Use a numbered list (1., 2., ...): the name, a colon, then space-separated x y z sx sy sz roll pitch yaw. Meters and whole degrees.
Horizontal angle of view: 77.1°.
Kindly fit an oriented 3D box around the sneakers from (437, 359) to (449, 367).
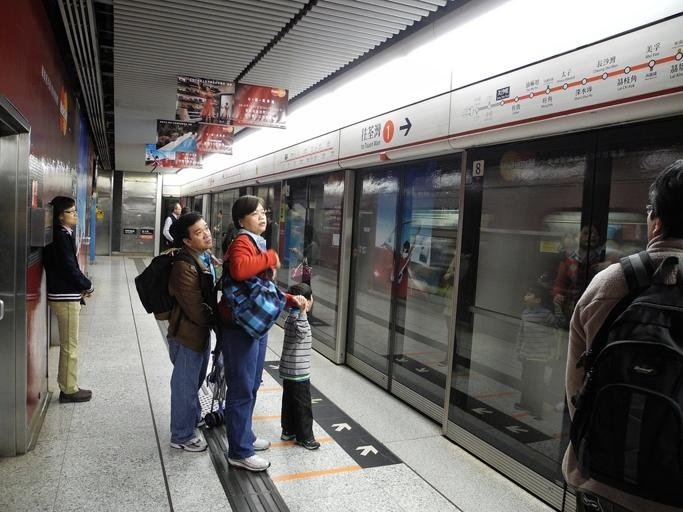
1. sneakers: 1.037 1.079 4.344 0.045 0.058 0.145 2 -13 -5

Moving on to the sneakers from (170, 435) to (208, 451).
1. sneakers: -1.230 1.509 3.478 0.307 0.139 0.112 1 1 -8

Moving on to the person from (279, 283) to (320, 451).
1. person: -0.332 1.029 3.624 0.379 1.174 0.223 4 3 9

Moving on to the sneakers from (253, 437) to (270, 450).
1. sneakers: -0.651 1.552 3.554 0.183 0.078 0.079 -2 -2 14

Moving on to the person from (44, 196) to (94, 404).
1. person: -2.610 0.435 4.119 0.438 1.994 0.455 2 3 -33

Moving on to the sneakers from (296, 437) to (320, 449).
1. sneakers: -0.279 1.570 3.626 0.192 0.088 0.072 -1 -3 19

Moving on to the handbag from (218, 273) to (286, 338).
1. handbag: -0.642 0.355 3.159 0.475 0.369 0.201 40 -11 -8

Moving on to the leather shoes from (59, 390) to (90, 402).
1. leather shoes: -2.614 1.388 4.208 0.239 0.107 0.131 0 2 -21

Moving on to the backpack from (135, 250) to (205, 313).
1. backpack: -1.320 0.178 3.497 0.546 0.548 0.371 0 9 -9

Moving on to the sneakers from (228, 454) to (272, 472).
1. sneakers: -0.666 1.537 3.194 0.316 0.145 0.122 1 -2 -3

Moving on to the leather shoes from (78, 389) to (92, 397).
1. leather shoes: -2.546 1.375 4.255 0.121 0.041 0.090 8 17 -31
